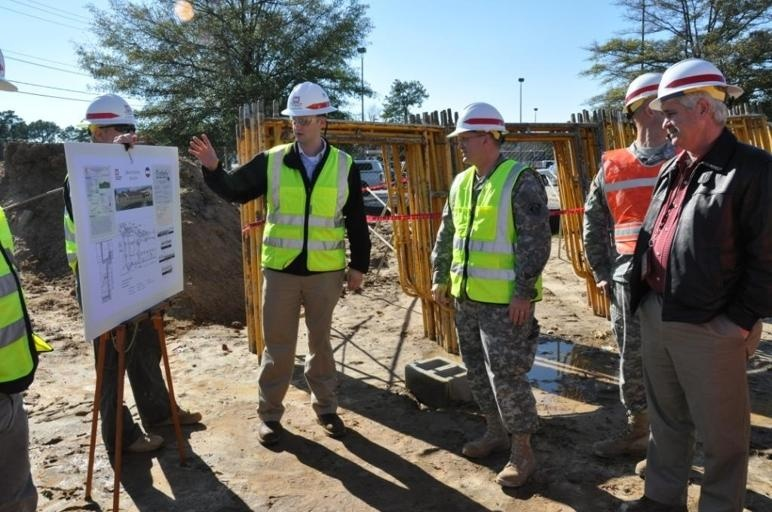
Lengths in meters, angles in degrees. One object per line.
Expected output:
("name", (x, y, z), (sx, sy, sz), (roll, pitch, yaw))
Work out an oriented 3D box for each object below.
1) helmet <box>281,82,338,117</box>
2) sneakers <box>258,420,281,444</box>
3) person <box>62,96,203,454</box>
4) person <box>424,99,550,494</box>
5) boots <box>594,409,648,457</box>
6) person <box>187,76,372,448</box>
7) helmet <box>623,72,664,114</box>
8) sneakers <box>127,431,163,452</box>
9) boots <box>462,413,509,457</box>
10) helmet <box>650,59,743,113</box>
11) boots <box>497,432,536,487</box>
("helmet", (-0.670, -1.392, 5.926), (0.309, 0.202, 0.374), (6, 16, 20))
("sneakers", (-1.044, 1.573, 6.015), (0.202, 0.176, 0.168), (-3, 14, -11))
("person", (-2.209, 0.189, 5.669), (0.734, 3.004, 0.920), (6, 15, 24))
("person", (0.911, 0.298, 5.533), (0.553, 2.999, 0.988), (-9, 16, -31))
("boots", (1.990, 1.506, 5.782), (0.562, 0.428, 0.186), (-4, 14, -18))
("person", (-0.818, 0.065, 6.008), (1.363, 3.114, 0.797), (-2, 14, -9))
("helmet", (2.083, -1.345, 5.585), (0.242, 0.179, 0.312), (-34, 11, -36))
("sneakers", (-2.077, 1.606, 5.817), (0.278, 0.124, 0.139), (-2, 9, -16))
("boots", (0.842, 1.508, 5.840), (0.400, 0.396, 0.187), (-10, 20, -3))
("helmet", (2.112, -1.198, 4.640), (0.475, 0.246, 0.372), (-8, 9, 2))
("boots", (1.038, 1.627, 5.469), (0.404, 0.400, 0.179), (-16, 12, -39))
